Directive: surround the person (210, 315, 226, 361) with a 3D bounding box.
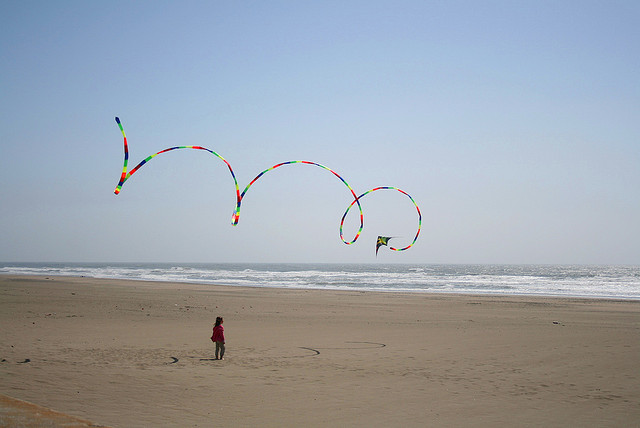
[{"bbox_3d":[-2.938,3.576,17.094,0.371,1.131,1.063,2,-5,-10],"label":"person"}]
